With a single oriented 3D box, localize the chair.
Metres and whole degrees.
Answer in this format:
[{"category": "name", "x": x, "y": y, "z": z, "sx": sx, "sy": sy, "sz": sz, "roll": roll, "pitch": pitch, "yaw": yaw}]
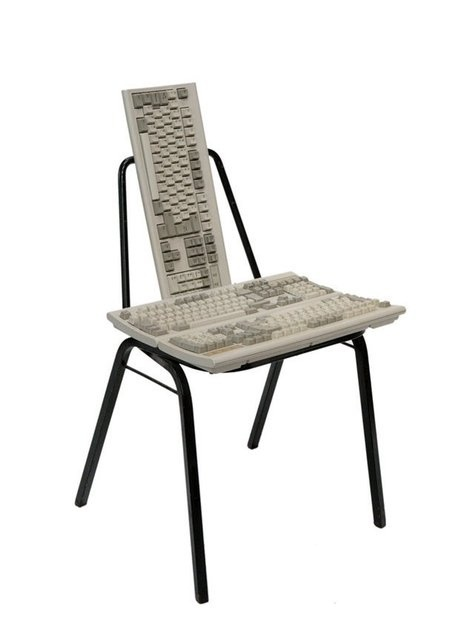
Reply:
[{"category": "chair", "x": 0.027, "y": 0.053, "z": 1.667, "sx": 0.687, "sy": 0.716, "sz": 1.047, "roll": -6, "pitch": -76, "yaw": -21}]
